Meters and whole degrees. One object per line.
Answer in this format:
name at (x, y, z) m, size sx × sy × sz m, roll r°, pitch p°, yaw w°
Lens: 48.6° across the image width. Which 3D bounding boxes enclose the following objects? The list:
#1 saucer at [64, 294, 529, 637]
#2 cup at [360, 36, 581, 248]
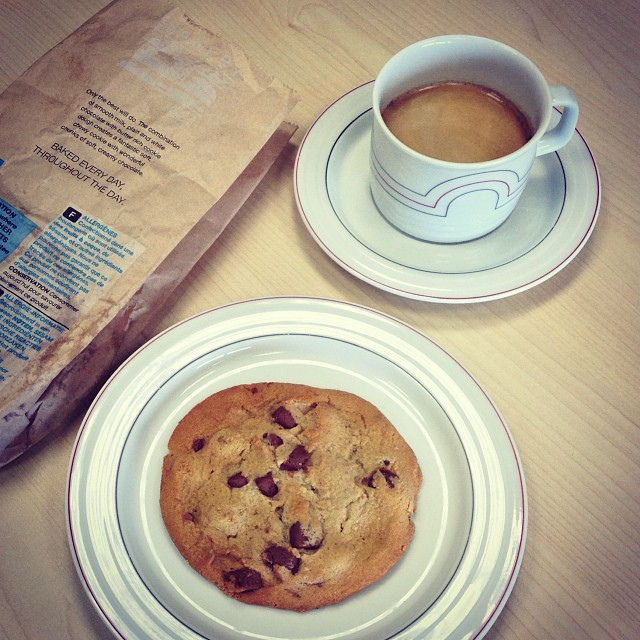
saucer at (-0.033, 0.175, 0.857) m, size 0.526 × 0.068 × 0.421 m, roll -7°, pitch 73°, yaw -1°
cup at (0.180, -0.231, 0.956) m, size 0.326 × 0.213 × 0.228 m, roll -12°, pitch 79°, yaw -2°
